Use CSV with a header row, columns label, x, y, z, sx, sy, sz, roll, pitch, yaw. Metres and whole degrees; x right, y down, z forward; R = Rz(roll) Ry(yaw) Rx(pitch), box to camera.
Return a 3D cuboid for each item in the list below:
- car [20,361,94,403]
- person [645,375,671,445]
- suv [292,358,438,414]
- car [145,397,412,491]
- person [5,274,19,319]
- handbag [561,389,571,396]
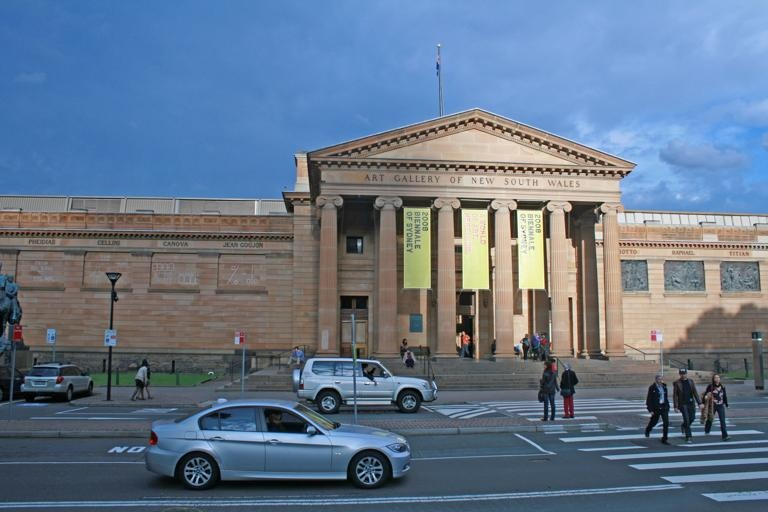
label,x,y,z,sx,sy,sz,roll,pitch,yaw
car,-16.871,6.393,43.179,1.816,1.171,3.073,0,0,9
person,10.823,6.050,32.902,0.914,2.641,1.605,-3,-7,16
suv,-1.019,6.175,39.234,6.438,2.143,2.755,-1,-5,-4
car,-3.592,6.439,29.105,8.608,2.408,3.429,-1,-5,-4
person,-20.640,2.293,45.430,0.886,2.524,1.023,2,-7,-19
handbag,7.972,5.980,36.217,0.489,0.286,0.275,0,-3,-6
